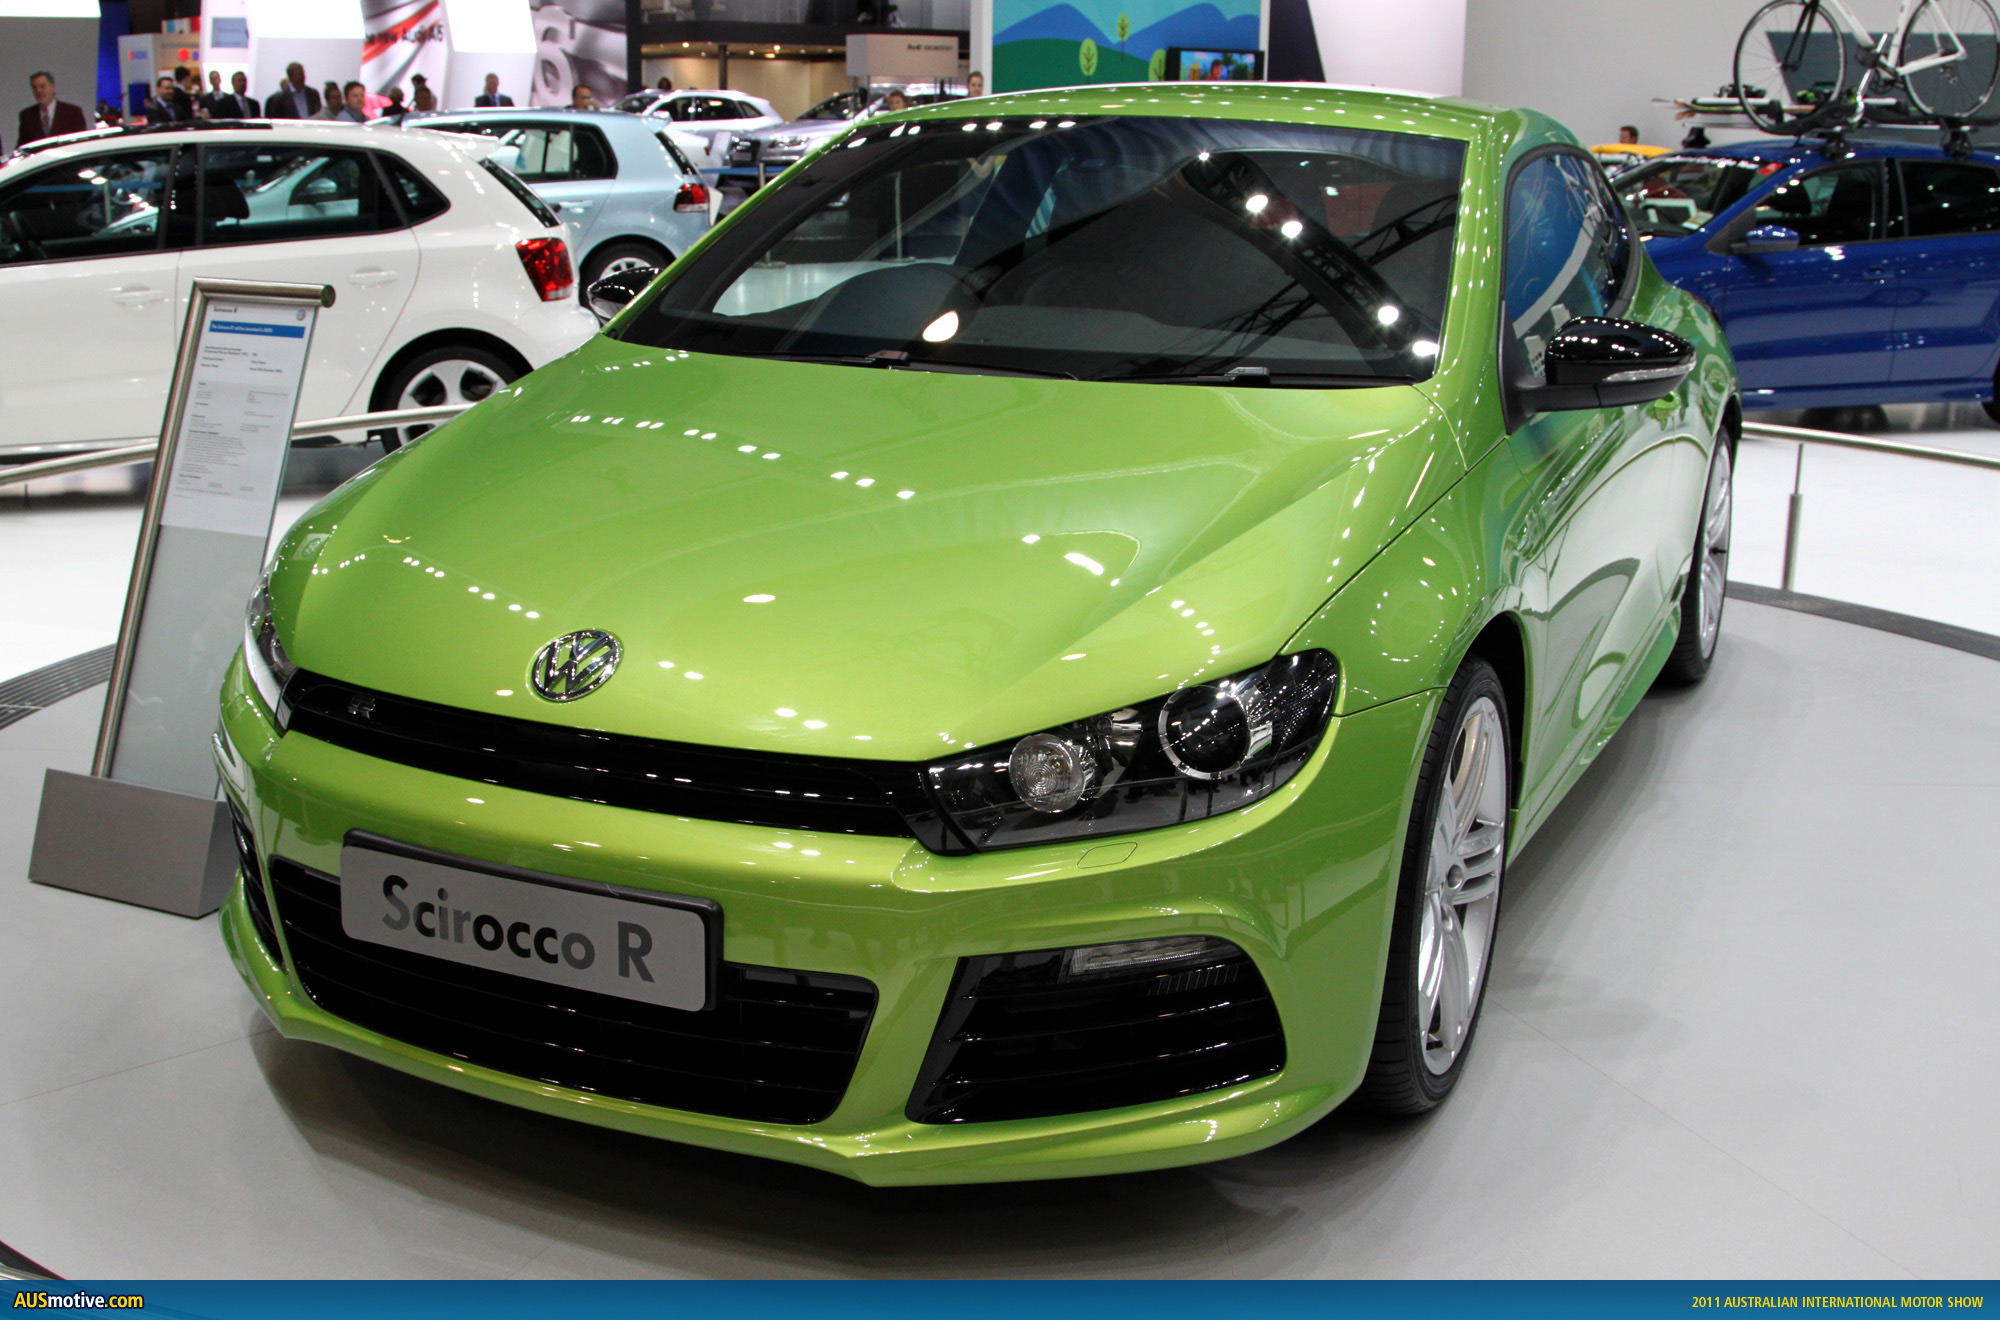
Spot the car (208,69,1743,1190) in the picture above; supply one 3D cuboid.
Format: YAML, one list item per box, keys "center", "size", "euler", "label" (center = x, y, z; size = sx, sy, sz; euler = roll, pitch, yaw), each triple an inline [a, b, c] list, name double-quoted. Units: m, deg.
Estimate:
- center: [0.357, -0.158, 2.840]
  size: [1.870, 1.026, 2.924]
  euler: [9, 18, 27]
  label: "car"

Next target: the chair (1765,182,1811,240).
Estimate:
- center: [4.563, -2.563, 7.605]
  size: [0.228, 0.323, 0.274]
  euler: [8, 16, 27]
  label: "chair"
